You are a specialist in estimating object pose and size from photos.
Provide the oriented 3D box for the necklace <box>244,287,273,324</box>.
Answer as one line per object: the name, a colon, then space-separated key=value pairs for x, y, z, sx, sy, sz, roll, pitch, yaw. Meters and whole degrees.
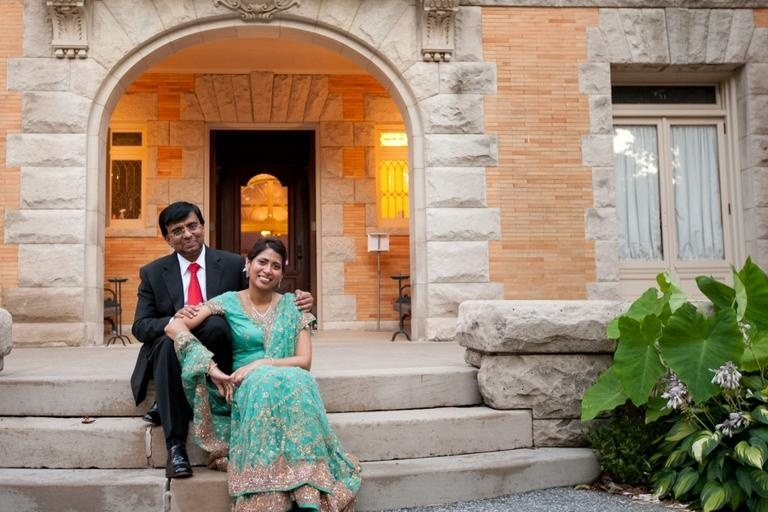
necklace: x=-1.099 y=0.457 z=7.160 sx=0.194 sy=0.271 sz=0.139 roll=-2 pitch=-4 yaw=-4

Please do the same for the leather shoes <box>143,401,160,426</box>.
leather shoes: x=-2.054 y=1.397 z=7.079 sx=0.118 sy=0.141 sz=0.333 roll=3 pitch=0 yaw=-11

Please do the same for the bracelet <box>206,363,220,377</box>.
bracelet: x=-1.466 y=0.954 z=6.816 sx=0.092 sy=0.105 sz=0.040 roll=36 pitch=4 yaw=1
